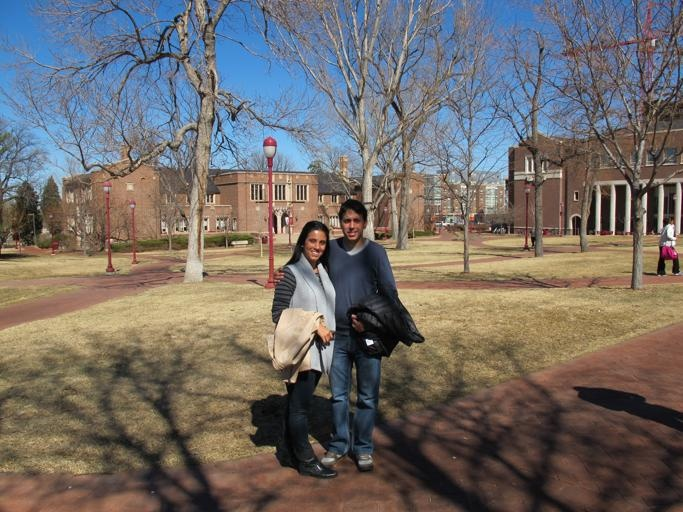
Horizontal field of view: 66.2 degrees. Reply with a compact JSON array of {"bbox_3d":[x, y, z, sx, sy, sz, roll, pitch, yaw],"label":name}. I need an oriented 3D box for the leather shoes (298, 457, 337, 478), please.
[{"bbox_3d":[-0.236,2.019,4.965,0.319,0.156,0.172,0,-2,8],"label":"leather shoes"}]

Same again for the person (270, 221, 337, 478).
[{"bbox_3d":[-0.350,0.886,5.038,0.589,2.427,0.530,-1,7,-2],"label":"person"}]

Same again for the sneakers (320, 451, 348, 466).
[{"bbox_3d":[-0.068,1.985,5.135,0.108,0.132,0.316,-6,-20,21],"label":"sneakers"}]

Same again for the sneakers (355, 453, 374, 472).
[{"bbox_3d":[0.225,2.000,5.130,0.179,0.161,0.171,-1,8,1],"label":"sneakers"}]
